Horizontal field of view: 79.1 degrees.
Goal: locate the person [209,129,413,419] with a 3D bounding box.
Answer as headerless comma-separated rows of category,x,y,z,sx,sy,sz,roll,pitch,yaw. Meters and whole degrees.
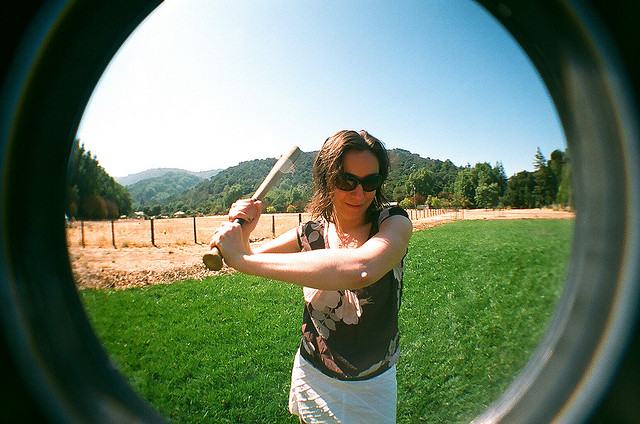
person,0.048,0.476,2.730,1.099,2.102,0.848,0,4,0

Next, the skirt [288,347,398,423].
skirt,0.151,1.301,2.766,0.763,0.447,0.132,1,4,9
